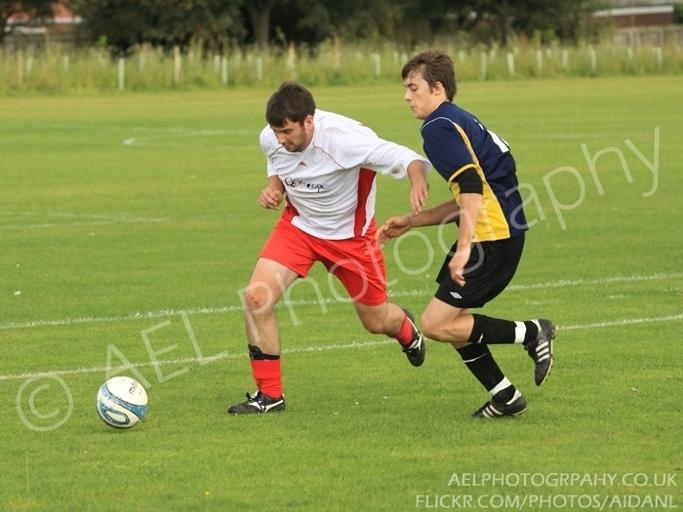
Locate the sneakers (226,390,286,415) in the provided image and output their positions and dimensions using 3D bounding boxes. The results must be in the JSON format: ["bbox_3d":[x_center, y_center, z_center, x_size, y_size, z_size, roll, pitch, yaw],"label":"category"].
[{"bbox_3d":[-0.694,1.212,10.189,0.481,0.187,0.184,1,-7,-4],"label":"sneakers"}]

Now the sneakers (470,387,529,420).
[{"bbox_3d":[1.270,1.220,9.911,0.471,0.200,0.170,-21,19,13],"label":"sneakers"}]

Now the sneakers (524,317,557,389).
[{"bbox_3d":[1.608,0.799,10.171,0.270,0.546,0.198,-1,1,-6],"label":"sneakers"}]
